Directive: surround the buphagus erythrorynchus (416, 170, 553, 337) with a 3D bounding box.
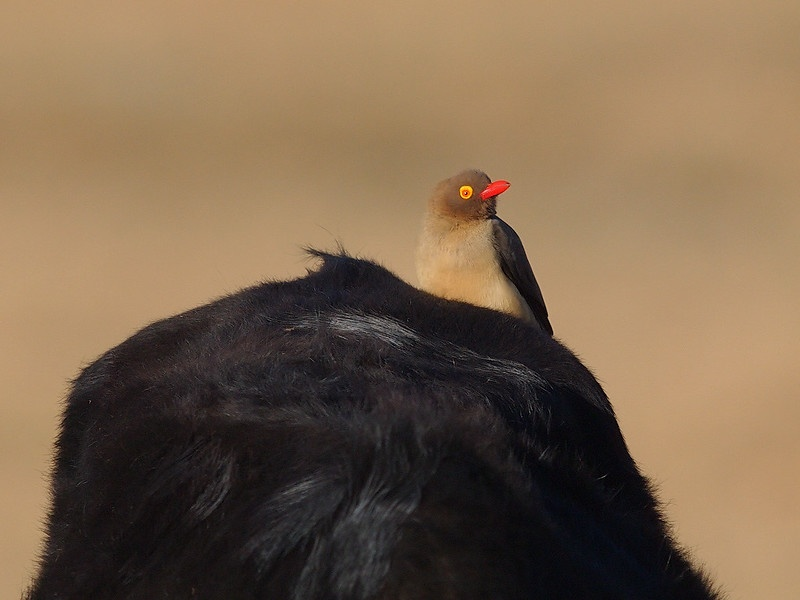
[{"bbox_3d":[0.082,-0.053,1.720,0.117,0.168,0.208,4,-76,20],"label":"buphagus erythrorynchus"}]
